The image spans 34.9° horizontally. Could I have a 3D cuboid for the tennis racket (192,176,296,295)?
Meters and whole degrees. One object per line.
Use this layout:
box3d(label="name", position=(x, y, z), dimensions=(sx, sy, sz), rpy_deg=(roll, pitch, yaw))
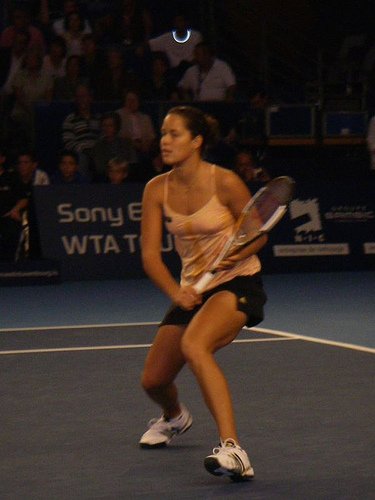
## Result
box3d(label="tennis racket", position=(0.207, -0.054, 2.003), dimensions=(0.189, 0.356, 0.406), rpy_deg=(11, 20, 37))

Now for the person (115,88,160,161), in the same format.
box3d(label="person", position=(-0.706, -1.806, 8.735), dimensions=(0.870, 0.995, 0.852), rpy_deg=(-7, 21, -24))

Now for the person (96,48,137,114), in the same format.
box3d(label="person", position=(-1.076, -2.422, 9.009), dimensions=(0.782, 0.981, 0.373), rpy_deg=(-4, 2, -10))

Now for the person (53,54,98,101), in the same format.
box3d(label="person", position=(-1.738, -2.522, 8.751), dimensions=(0.695, 0.728, 0.230), rpy_deg=(1, -7, -4))

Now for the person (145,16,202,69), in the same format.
box3d(label="person", position=(-0.216, -3.200, 9.303), dimensions=(1.100, 0.576, 0.252), rpy_deg=(0, -5, -3))

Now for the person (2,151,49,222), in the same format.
box3d(label="person", position=(-2.197, -0.868, 8.199), dimensions=(0.514, 0.886, 0.789), rpy_deg=(0, 17, 11))

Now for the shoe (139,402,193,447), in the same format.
box3d(label="shoe", position=(-0.067, 0.667, 2.277), dimensions=(0.259, 0.095, 0.100), rpy_deg=(-25, 10, -40))

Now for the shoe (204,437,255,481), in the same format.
box3d(label="shoe", position=(0.142, 0.593, 1.709), dimensions=(0.077, 0.092, 0.212), rpy_deg=(-27, -31, 20))

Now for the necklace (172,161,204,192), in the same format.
box3d(label="necklace", position=(0.003, -0.246, 2.041), dimensions=(0.079, 0.092, 0.047), rpy_deg=(-3, -10, 2))

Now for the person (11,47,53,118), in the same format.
box3d(label="person", position=(-2.299, -2.462, 8.804), dimensions=(0.636, 0.971, 0.387), rpy_deg=(-6, 18, -11))

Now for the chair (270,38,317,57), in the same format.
box3d(label="chair", position=(1.683, -3.157, 9.369), dimensions=(0.698, 0.288, 0.163), rpy_deg=(0, 17, 5))
